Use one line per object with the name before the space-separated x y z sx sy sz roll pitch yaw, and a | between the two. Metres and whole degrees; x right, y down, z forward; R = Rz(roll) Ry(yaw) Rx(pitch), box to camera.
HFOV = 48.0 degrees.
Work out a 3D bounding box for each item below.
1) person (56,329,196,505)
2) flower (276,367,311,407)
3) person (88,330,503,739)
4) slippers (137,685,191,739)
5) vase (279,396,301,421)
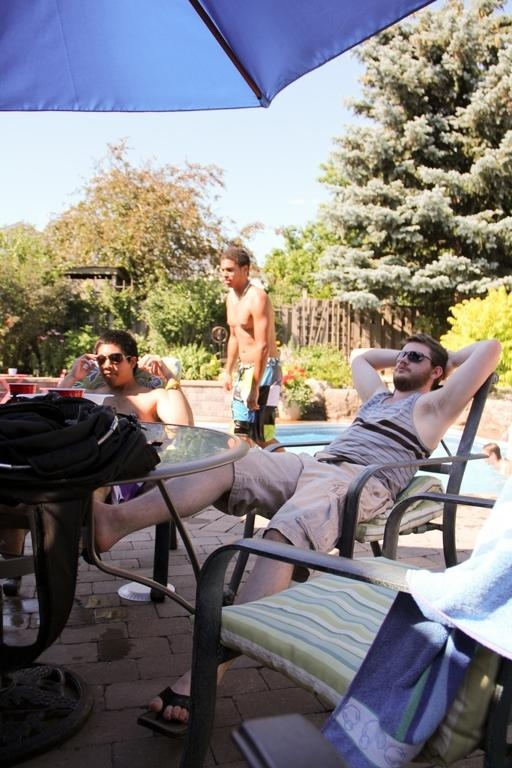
person | -0.637 0.198 2.687 0.642 0.872 0.457 -4 1 -7
flower | 0.711 0.047 10.192 0.674 0.456 0.672 0 9 0
person | 0.227 0.369 2.065 1.636 0.943 0.702 -7 0 -36
slippers | -0.226 0.826 1.487 0.114 0.081 0.309 9 -19 5
vase | 0.633 0.419 10.190 0.392 0.395 0.392 1 8 9
